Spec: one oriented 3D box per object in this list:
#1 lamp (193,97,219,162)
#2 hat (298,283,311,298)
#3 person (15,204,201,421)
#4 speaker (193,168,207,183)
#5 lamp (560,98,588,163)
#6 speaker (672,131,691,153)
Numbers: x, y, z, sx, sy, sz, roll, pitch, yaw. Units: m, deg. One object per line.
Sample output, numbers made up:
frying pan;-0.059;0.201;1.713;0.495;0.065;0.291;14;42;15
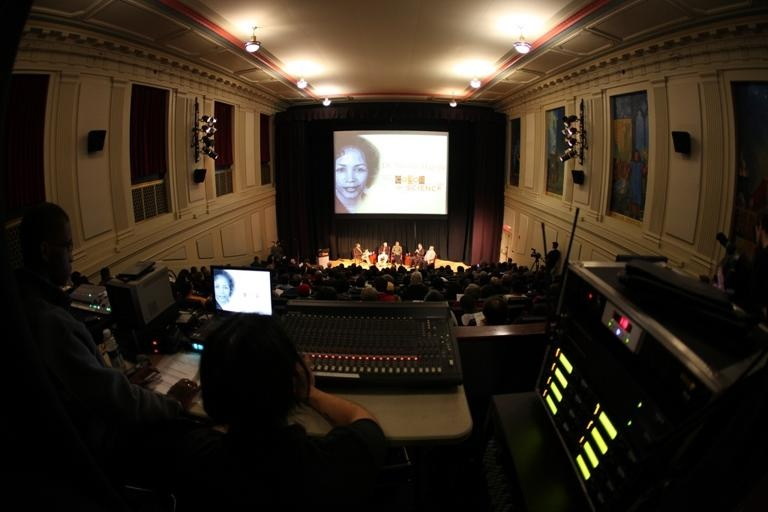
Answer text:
lamp;-2.986;-2.092;8.023;0.375;1.032;0.535;1;9;-1
hat;-0.931;0.392;5.511;0.127;0.166;0.266;-1;11;-12
person;-1.745;0.299;3.024;1.324;0.541;0.444;31;21;32
speaker;-3.102;-1.342;8.008;0.056;0.227;0.218;14;9;19
lamp;3.081;-2.046;7.881;0.438;1.031;0.540;1;9;2
speaker;3.448;-1.333;5.557;0.061;0.235;0.245;-2;11;-12
